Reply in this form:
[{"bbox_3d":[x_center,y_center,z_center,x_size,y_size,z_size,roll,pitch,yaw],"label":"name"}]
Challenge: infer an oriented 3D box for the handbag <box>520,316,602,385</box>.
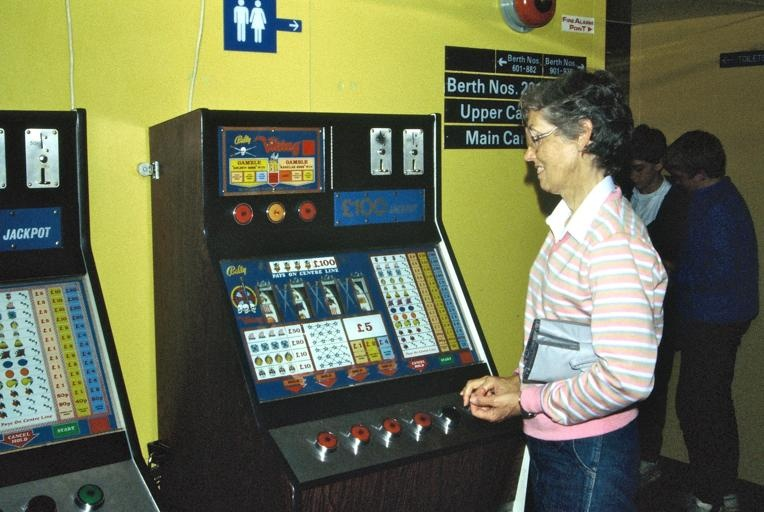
[{"bbox_3d":[0.575,0.321,2.101,0.229,0.171,0.084,3,23,13],"label":"handbag"}]
